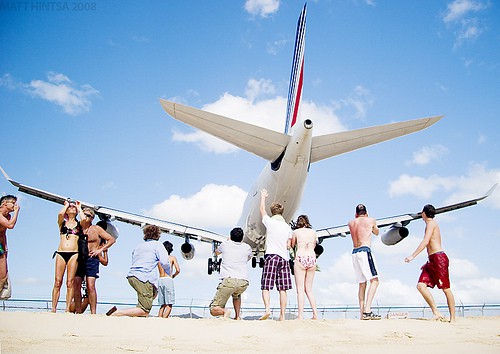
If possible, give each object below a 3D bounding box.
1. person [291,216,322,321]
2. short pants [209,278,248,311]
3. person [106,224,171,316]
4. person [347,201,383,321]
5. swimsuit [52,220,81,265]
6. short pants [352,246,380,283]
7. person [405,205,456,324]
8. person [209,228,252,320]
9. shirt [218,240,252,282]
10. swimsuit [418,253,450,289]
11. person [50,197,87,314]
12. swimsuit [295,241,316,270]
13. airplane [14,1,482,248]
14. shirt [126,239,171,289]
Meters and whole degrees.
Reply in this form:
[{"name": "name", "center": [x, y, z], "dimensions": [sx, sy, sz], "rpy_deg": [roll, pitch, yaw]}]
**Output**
[{"name": "person", "center": [1.125, 1.846, 9.002], "dimensions": [0.534, 2.081, 0.857], "rpy_deg": [2, -4, 6]}, {"name": "short pants", "center": [-0.388, 2.352, 9.036], "dimensions": [0.632, 0.783, 0.464], "rpy_deg": [13, -2, -22]}, {"name": "person", "center": [-2.050, 1.817, 8.569], "dimensions": [1.054, 1.706, 0.540], "rpy_deg": [4, -4, -23]}, {"name": "person", "center": [2.371, 1.723, 9.287], "dimensions": [0.426, 2.273, 0.793], "rpy_deg": [4, -4, -26]}, {"name": "swimsuit", "center": [-3.624, 1.280, 8.877], "dimensions": [0.461, 0.851, 0.288], "rpy_deg": [4, -4, -22]}, {"name": "short pants", "center": [2.349, 1.818, 9.297], "dimensions": [0.512, 0.769, 0.181], "rpy_deg": [-1, -5, 44]}, {"name": "person", "center": [3.761, 1.759, 9.166], "dimensions": [0.763, 2.359, 0.860], "rpy_deg": [0, -4, 25]}, {"name": "person", "center": [-0.396, 1.855, 8.863], "dimensions": [0.722, 1.650, 0.690], "rpy_deg": [2, -4, 7]}, {"name": "shirt", "center": [-0.318, 1.666, 9.033], "dimensions": [0.648, 0.784, 0.391], "rpy_deg": [2, -4, 1]}, {"name": "swimsuit", "center": [3.786, 1.922, 9.247], "dimensions": [0.522, 0.733, 0.245], "rpy_deg": [-1, -5, 40]}, {"name": "person", "center": [-3.518, 1.568, 8.731], "dimensions": [0.539, 2.218, 0.648], "rpy_deg": [4, -4, -22]}, {"name": "swimsuit", "center": [1.100, 1.585, 9.029], "dimensions": [0.443, 0.460, 0.206], "rpy_deg": [0, -47, 0]}, {"name": "airplane", "center": [0.423, 0.163, 15.122], "dimensions": [12.271, 3.899, 11.227], "rpy_deg": [2, -31, -9]}, {"name": "shirt", "center": [-2.025, 1.696, 8.700], "dimensions": [0.896, 0.960, 0.678], "rpy_deg": [-10, -37, -2]}]
